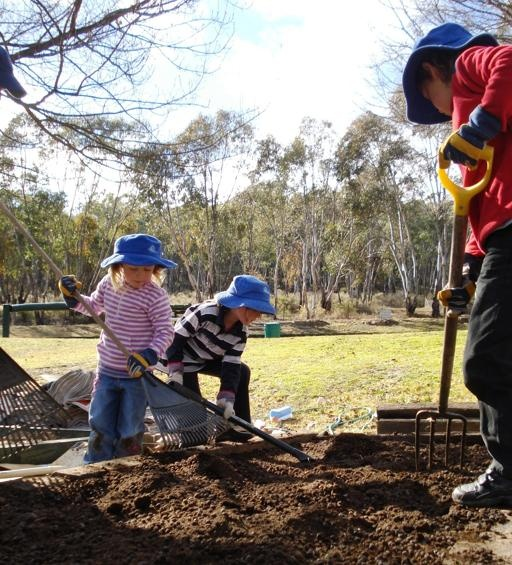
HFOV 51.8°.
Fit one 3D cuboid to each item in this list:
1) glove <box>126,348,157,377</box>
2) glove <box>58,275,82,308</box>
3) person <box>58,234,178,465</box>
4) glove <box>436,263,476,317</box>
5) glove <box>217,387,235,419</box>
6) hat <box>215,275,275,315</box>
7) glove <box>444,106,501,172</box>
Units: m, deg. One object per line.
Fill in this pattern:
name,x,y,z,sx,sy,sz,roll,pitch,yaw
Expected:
glove,-0.613,0.431,2.868,0.163,0.108,0.072,-23,-16,-45
glove,-1.099,0.058,3.160,0.123,0.218,0.090,2,40,-5
person,-0.840,0.376,3.120,0.666,1.357,0.586,1,-3,15
glove,0.912,0.023,2.394,0.232,0.238,0.132,-3,6,0
glove,-0.183,0.743,3.248,0.068,0.140,0.117,-19,-20,17
hat,-0.037,0.091,3.557,0.342,0.155,0.310,4,-4,35
glove,0.863,-0.577,2.162,0.122,0.265,0.259,43,14,-17
